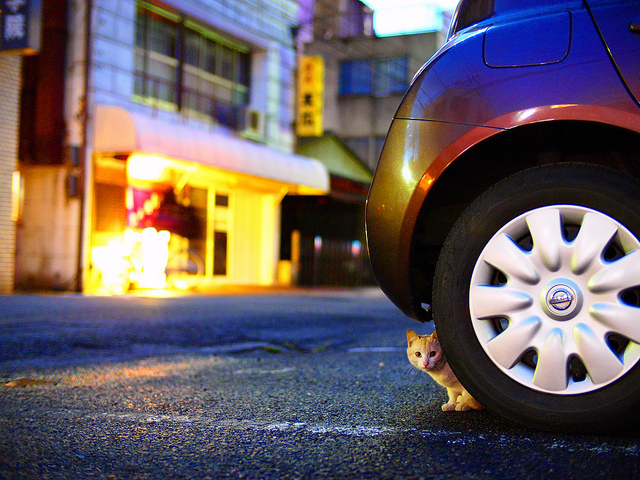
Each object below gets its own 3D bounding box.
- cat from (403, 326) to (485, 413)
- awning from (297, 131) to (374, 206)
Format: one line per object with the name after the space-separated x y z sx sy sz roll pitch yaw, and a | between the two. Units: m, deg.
0.830 0.739 3.805 0.639 0.519 0.230 -6 -8 -36 | cat
-0.214 -2.562 21.118 2.605 1.339 4.178 18 1 -13 | awning
